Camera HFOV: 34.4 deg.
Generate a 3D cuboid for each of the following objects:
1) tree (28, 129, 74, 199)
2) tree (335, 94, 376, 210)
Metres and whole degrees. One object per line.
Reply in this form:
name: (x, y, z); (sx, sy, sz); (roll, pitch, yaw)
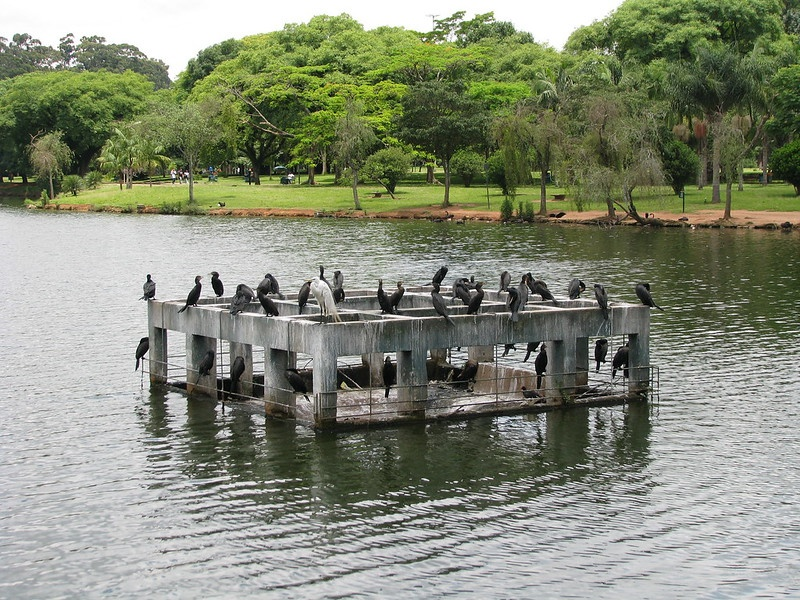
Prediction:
tree: (-42.278, -16.378, 155.794); (4.644, 9.068, 16.702); (-2, 2, -14)
tree: (-4.193, -13.800, 122.711); (3.675, 10.574, 7.122); (-2, 2, -1)
